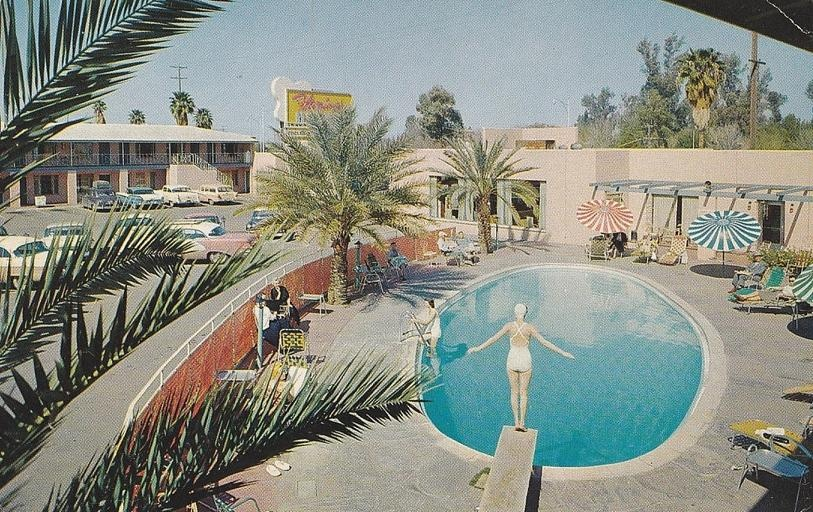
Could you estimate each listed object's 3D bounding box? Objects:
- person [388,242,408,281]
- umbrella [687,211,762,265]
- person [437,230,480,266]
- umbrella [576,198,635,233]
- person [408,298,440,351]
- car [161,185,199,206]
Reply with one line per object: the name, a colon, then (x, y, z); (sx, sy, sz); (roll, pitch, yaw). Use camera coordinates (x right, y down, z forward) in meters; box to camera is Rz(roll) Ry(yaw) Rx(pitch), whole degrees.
person: (-0.352, 0.102, 25.138); (0.672, 1.357, 1.624); (-2, 12, -3)
umbrella: (10.369, -0.852, 22.091); (1.811, 1.014, 1.823); (-5, 13, -17)
person: (2.057, -0.298, 28.387); (0.806, 1.665, 2.846); (-14, 11, -30)
umbrella: (7.682, -1.437, 26.355); (1.900, 1.280, 1.645); (1, 12, 11)
person: (0.500, 1.672, 17.615); (0.681, 1.553, 1.956); (-1, 12, 0)
car: (-16.113, -4.137, 48.041); (2.327, 1.384, 4.160); (-6, 13, -20)
